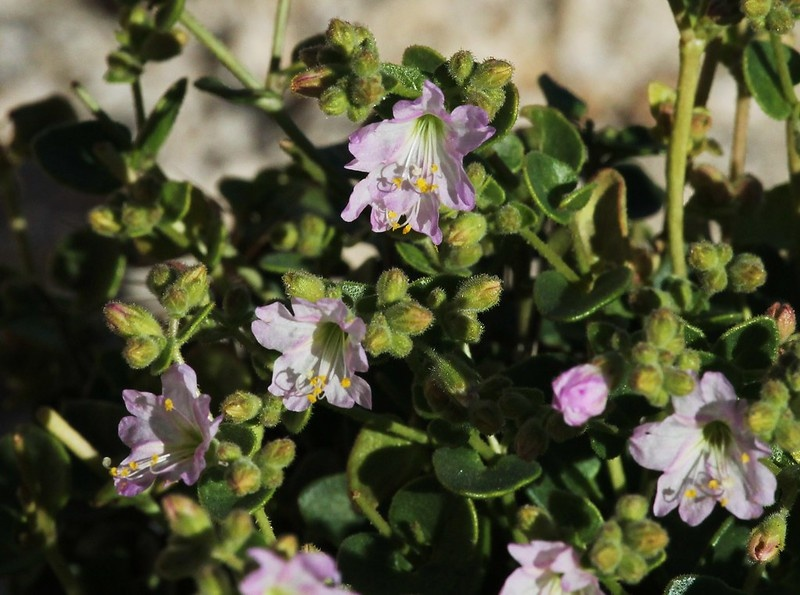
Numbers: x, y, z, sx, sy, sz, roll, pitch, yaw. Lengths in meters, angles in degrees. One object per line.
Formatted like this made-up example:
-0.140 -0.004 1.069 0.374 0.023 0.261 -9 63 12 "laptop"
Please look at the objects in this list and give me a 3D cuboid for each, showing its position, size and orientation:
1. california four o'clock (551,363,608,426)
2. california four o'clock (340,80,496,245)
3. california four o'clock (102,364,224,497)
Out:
0.255 0.136 1.376 0.073 0.091 0.036 -3 7 -14 "california four o'clock"
0.022 -0.206 1.498 0.204 0.259 0.087 -2 22 1 "california four o'clock"
-0.355 0.200 1.490 0.239 0.179 0.084 -3 2 40 "california four o'clock"
